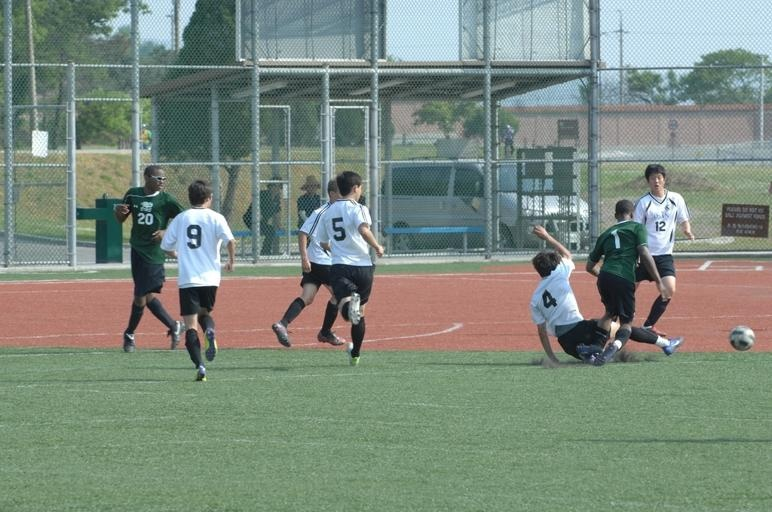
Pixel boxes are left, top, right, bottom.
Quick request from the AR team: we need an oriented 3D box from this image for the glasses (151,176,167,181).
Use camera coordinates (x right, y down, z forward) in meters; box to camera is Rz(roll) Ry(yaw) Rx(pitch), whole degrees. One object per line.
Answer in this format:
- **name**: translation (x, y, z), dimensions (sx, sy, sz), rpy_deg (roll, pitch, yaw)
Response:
- **glasses**: translation (-3.728, -1.268, 20.812), dimensions (0.188, 0.061, 0.191), rpy_deg (-5, -4, 26)

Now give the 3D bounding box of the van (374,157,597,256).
- **van**: translation (2.352, -1.341, 33.722), dimensions (4.599, 2.335, 2.438), rpy_deg (-2, 1, 4)

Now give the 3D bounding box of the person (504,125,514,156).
- **person**: translation (3.153, -2.958, 33.232), dimensions (0.234, 0.817, 0.462), rpy_deg (3, 14, 17)

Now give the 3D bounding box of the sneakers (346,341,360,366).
- **sneakers**: translation (-0.493, 1.488, 19.827), dimensions (0.135, 0.398, 0.181), rpy_deg (-6, 6, -14)

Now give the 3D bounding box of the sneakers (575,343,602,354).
- **sneakers**: translation (3.072, 1.387, 19.644), dimensions (0.371, 0.157, 0.134), rpy_deg (6, -7, 5)

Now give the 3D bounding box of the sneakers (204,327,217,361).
- **sneakers**: translation (-2.632, 1.306, 19.304), dimensions (0.138, 0.521, 0.224), rpy_deg (-2, 13, -5)

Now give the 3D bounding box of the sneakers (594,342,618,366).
- **sneakers**: translation (3.329, 1.458, 19.674), dimensions (0.155, 0.336, 0.112), rpy_deg (21, 24, -54)

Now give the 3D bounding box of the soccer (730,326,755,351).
- **soccer**: translation (5.624, 1.302, 20.447), dimensions (0.358, 0.450, 0.398), rpy_deg (3, 14, 15)

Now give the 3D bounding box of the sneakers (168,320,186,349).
- **sneakers**: translation (-3.411, 1.247, 20.952), dimensions (0.265, 0.544, 0.200), rpy_deg (-4, 19, -22)

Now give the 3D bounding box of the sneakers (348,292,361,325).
- **sneakers**: translation (-0.443, 0.754, 19.465), dimensions (0.214, 0.446, 0.180), rpy_deg (-5, -8, 42)

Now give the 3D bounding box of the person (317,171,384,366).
- **person**: translation (-0.535, 0.228, 19.774), dimensions (0.788, 2.969, 1.155), rpy_deg (-4, 13, -13)

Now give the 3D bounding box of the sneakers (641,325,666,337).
- **sneakers**: translation (4.336, 1.188, 21.018), dimensions (0.344, 0.232, 0.121), rpy_deg (1, 36, 5)
